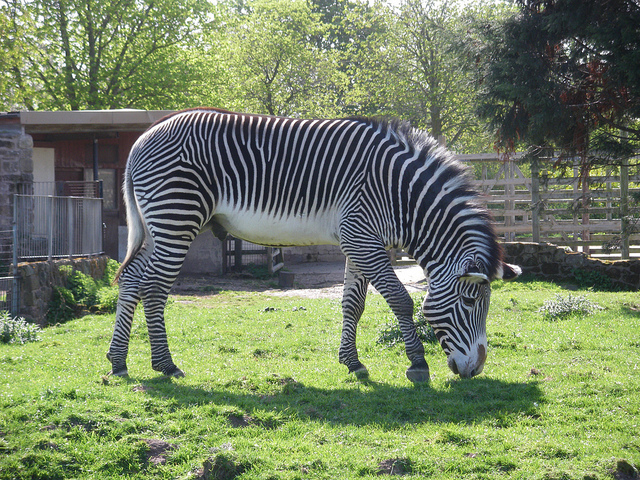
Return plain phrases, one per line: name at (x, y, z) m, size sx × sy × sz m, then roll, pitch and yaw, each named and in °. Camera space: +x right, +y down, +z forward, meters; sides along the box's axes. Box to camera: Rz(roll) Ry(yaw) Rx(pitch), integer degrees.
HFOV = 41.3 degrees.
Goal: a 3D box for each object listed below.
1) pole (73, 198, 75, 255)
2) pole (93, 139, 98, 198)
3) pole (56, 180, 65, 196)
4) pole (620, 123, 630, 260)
pole at (-6.043, -0.343, 20.831) m, size 0.040 × 1.332 × 0.242 m, roll 0°, pitch 1°, yaw -17°
pole at (-6.272, -2.003, 23.694) m, size 0.085 × 1.584 × 0.709 m, roll 0°, pitch 1°, yaw -18°
pole at (-6.856, -1.345, 22.371) m, size 0.186 × 0.419 × 1.165 m, roll 0°, pitch 1°, yaw -20°
pole at (8.349, -1.567, 23.212) m, size 0.237 × 4.410 × 0.301 m, roll 18°, pitch -26°, yaw -21°
